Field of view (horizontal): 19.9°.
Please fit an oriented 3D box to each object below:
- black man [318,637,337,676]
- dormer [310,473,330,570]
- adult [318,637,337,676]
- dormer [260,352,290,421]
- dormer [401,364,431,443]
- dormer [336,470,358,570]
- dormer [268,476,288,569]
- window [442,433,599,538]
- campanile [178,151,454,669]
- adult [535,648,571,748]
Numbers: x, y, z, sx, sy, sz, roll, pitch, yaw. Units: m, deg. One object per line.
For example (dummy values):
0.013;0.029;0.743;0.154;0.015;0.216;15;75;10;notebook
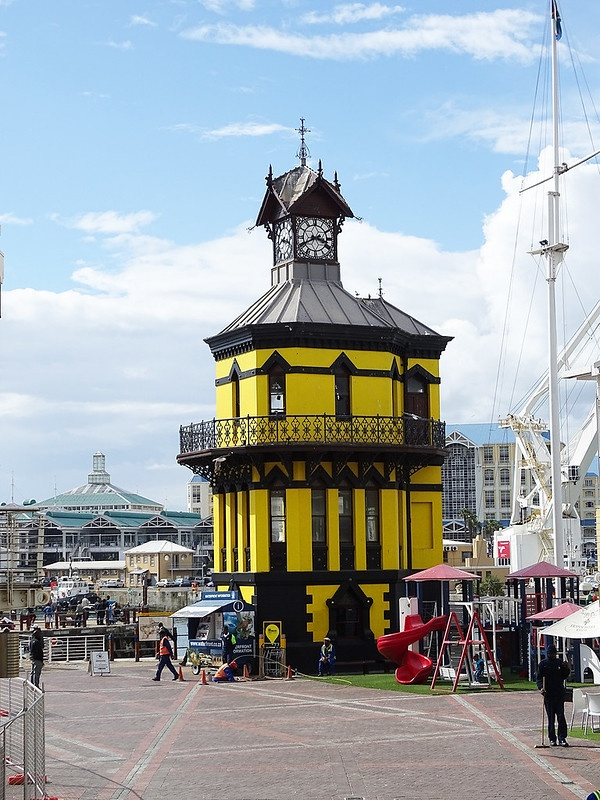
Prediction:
0.732;7.033;46.480;0.379;1.018;0.901;0;-9;-13;black man
0.530;3.607;48.842;0.511;2.543;0.359;-1;-9;-9;dormer
0.732;7.033;46.480;0.379;1.018;0.901;0;-9;-13;adult
-0.645;-0.466;49.273;0.721;1.786;0.599;-4;-9;14;dormer
3.476;-0.204;53.797;0.834;1.712;0.917;18;-19;-26;dormer
1.319;3.592;49.274;0.484;2.613;0.409;-1;-9;-7;dormer
-0.637;3.694;48.850;0.581;3.098;0.289;-1;-36;0;dormer
16.811;6.999;136.765;11.845;13.432;8.610;0;-7;0;window
0.473;0.355;51.715;7.340;14.744;7.216;2;-4;-27;campanile
4.679;5.564;31.490;0.537;1.673;0.889;-3;-9;8;adult
